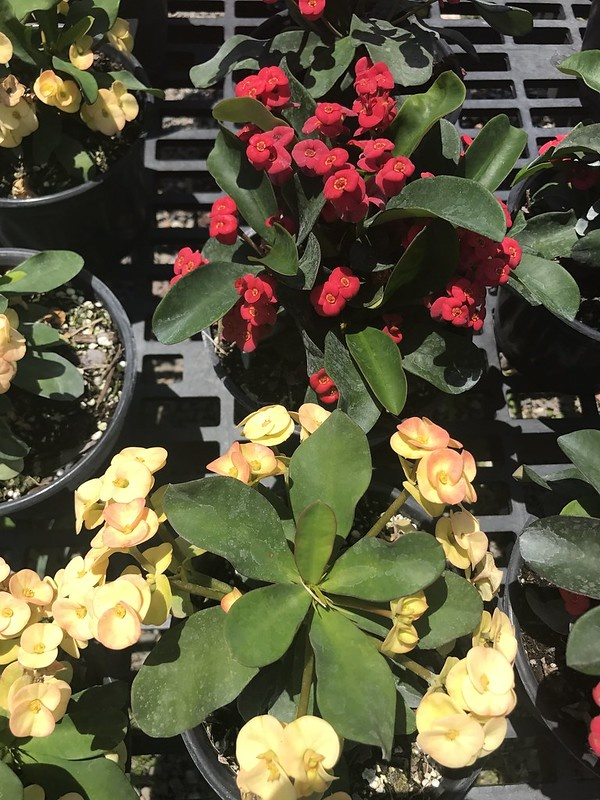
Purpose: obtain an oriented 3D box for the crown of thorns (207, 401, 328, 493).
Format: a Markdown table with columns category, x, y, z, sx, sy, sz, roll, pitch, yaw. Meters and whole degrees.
| category | x | y | z | sx | sy | sz | roll | pitch | yaw |
| --- | --- | --- | --- | --- | --- | --- | --- | --- | --- |
| crown of thorns | -0.033 | 0.066 | 0.980 | 0.135 | 0.046 | 0.123 | -16 | 45 | 4 |
